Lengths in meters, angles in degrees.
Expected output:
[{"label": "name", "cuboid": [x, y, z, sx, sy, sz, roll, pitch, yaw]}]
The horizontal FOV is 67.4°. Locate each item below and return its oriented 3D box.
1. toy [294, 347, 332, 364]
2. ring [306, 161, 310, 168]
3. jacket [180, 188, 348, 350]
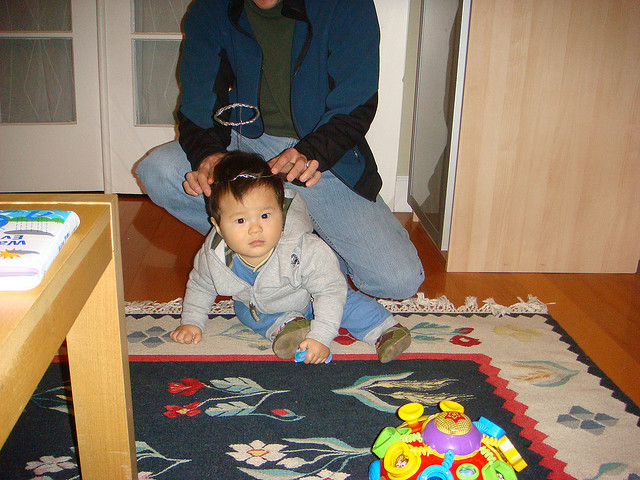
[{"label": "toy", "cuboid": [-0.023, 0.301, 1.248, 0.058, 0.059, 0.020, -5, 18, 17]}, {"label": "ring", "cuboid": [-0.033, -0.207, 1.303, 0.005, 0.004, 0.017, -14, 51, 19]}, {"label": "jacket", "cuboid": [-0.167, 0.092, 1.363, 0.481, 0.364, 0.299, 4, 32, 14]}]
